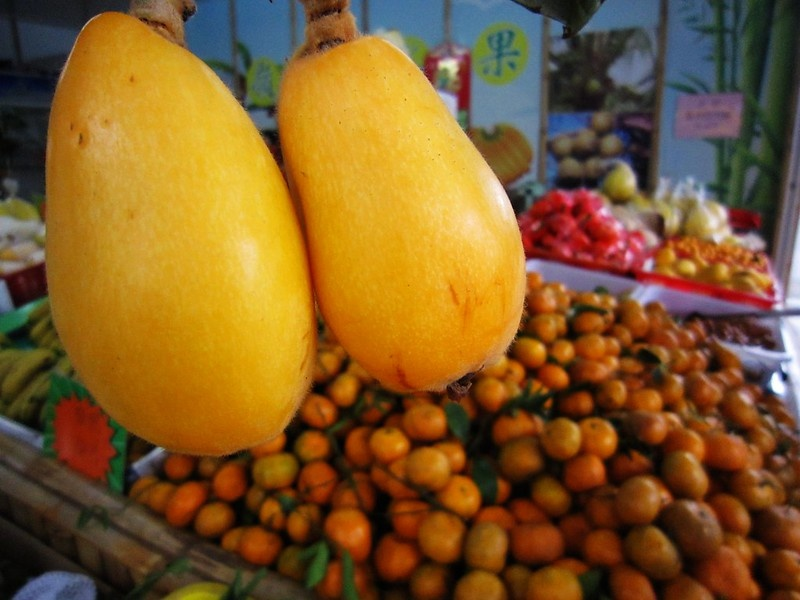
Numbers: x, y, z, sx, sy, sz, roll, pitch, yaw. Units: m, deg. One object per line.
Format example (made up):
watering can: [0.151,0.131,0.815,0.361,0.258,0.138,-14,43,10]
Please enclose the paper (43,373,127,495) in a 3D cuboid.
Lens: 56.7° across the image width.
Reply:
paper: [-0.708,0.295,1.649,0.239,0.226,0.037,9,14,26]
